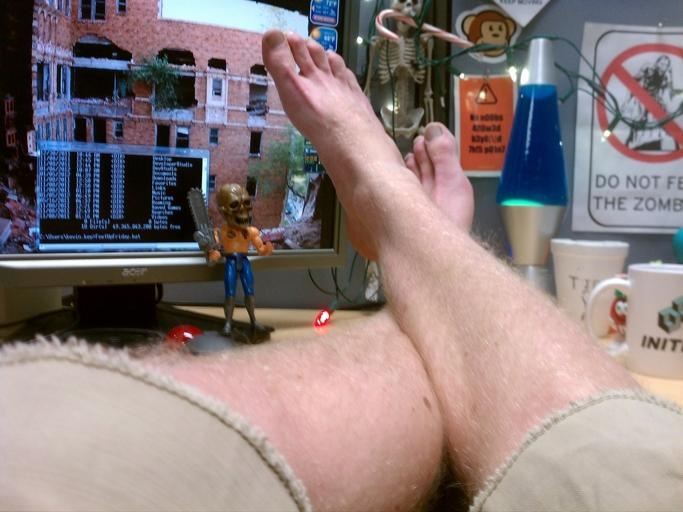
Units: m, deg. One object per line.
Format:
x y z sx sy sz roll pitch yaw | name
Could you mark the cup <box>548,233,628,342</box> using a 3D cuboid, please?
0.310 0.037 0.871 0.140 0.179 0.112 1 4 20 | cup
